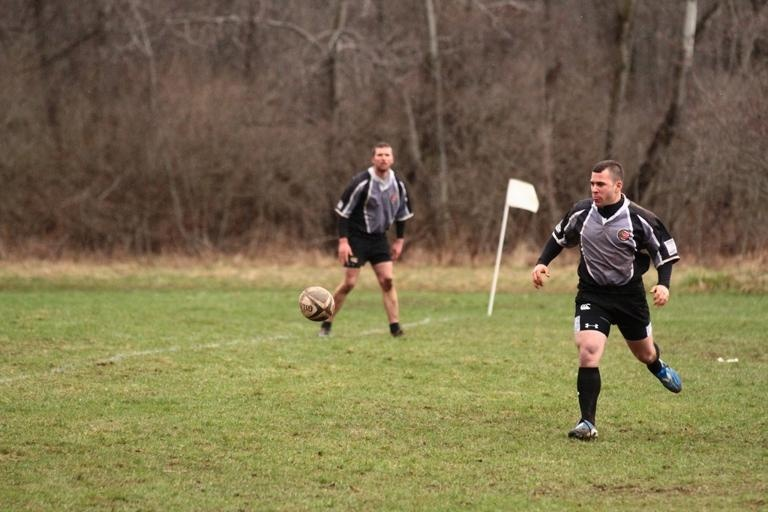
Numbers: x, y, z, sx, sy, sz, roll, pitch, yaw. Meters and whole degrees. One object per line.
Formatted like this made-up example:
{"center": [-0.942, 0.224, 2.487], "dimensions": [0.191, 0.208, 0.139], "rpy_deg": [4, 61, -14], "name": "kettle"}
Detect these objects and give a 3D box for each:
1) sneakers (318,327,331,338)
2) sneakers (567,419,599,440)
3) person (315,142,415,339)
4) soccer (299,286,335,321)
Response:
{"center": [-0.993, 1.277, 20.135], "dimensions": [0.180, 0.160, 0.107], "rpy_deg": [0, 6, 4], "name": "sneakers"}
{"center": [2.709, 2.391, 16.477], "dimensions": [0.403, 0.189, 0.199], "rpy_deg": [4, -9, -27], "name": "sneakers"}
{"center": [-0.209, -0.258, 19.967], "dimensions": [1.199, 3.244, 0.753], "rpy_deg": [1, 15, -2], "name": "person"}
{"center": [-1.099, 0.768, 19.551], "dimensions": [0.558, 0.517, 0.551], "rpy_deg": [-22, 6, -12], "name": "soccer"}
